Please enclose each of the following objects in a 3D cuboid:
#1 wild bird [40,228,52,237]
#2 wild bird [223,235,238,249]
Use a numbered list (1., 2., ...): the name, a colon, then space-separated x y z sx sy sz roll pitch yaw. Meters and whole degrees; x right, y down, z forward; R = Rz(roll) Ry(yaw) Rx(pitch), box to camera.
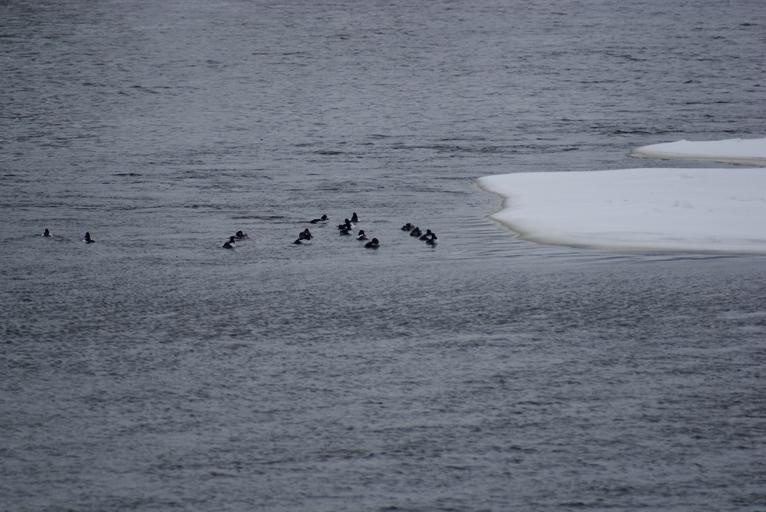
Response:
1. wild bird: -14.590 -0.973 73.555 0.473 0.429 0.143 -5 -64 0
2. wild bird: -6.576 -0.550 72.734 0.582 1.224 0.200 7 -62 -2
